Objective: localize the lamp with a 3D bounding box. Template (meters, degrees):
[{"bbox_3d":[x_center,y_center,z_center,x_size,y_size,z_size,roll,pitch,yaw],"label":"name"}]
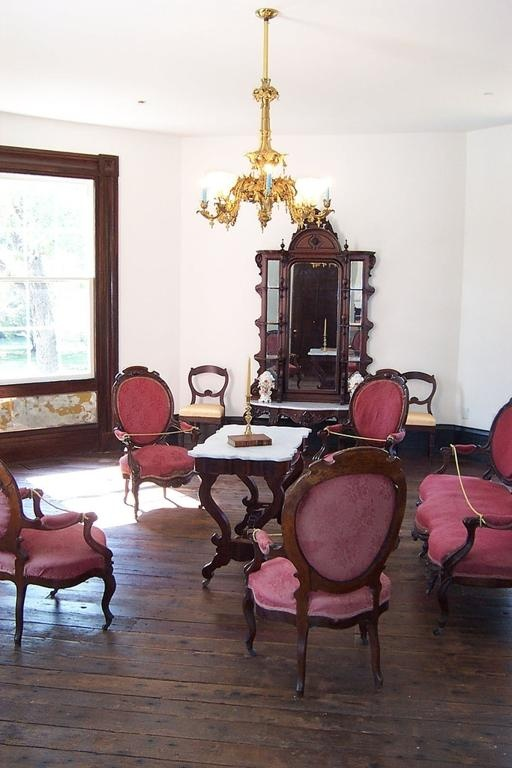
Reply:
[{"bbox_3d":[0.073,-1.536,4.476,0.859,1.223,2.307,1,7,2],"label":"lamp"}]

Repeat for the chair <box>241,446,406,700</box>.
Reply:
[{"bbox_3d":[0.241,0.682,2.579,0.613,0.981,0.478,2,8,7],"label":"chair"}]

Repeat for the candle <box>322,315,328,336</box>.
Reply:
[{"bbox_3d":[0.663,-0.532,6.479,0.041,0.200,0.013,-1,8,-16],"label":"candle"}]
